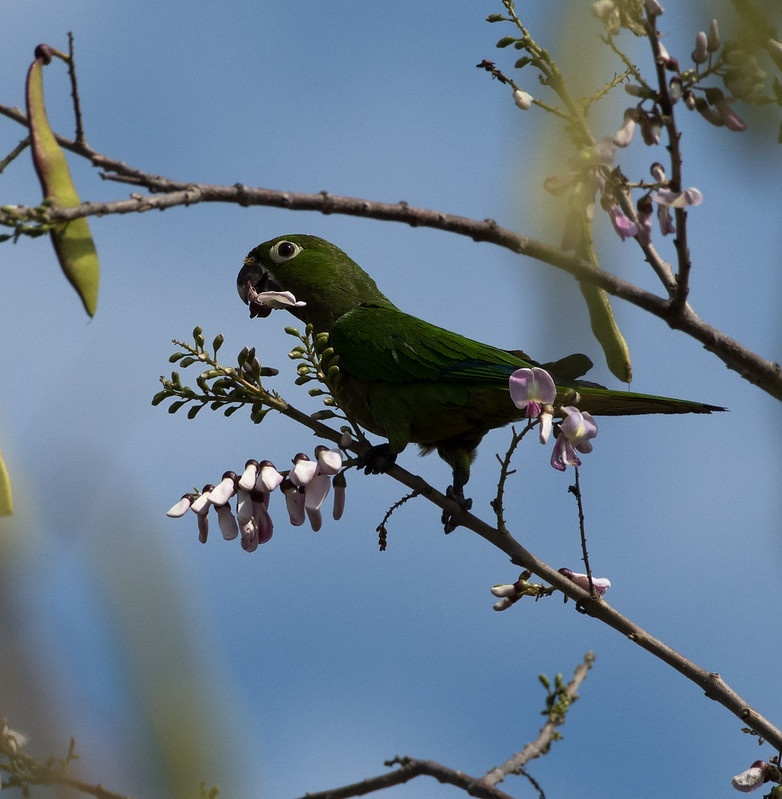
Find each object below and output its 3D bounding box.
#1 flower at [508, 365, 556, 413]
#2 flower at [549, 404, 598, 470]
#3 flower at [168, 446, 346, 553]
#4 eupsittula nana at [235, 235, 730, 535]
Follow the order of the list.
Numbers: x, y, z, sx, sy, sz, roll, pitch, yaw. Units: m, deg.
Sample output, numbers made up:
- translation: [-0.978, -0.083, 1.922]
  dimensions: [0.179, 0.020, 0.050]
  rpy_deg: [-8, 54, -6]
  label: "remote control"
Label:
- translation: [0.551, -0.041, 6.983]
  dimensions: [0.179, 0.077, 0.234]
  rpy_deg: [-4, -87, 11]
  label: "flower"
- translation: [0.696, 0.138, 6.946]
  dimensions: [0.189, 0.224, 0.285]
  rpy_deg: [-8, -71, -30]
  label: "flower"
- translation: [-0.472, 0.397, 7.036]
  dimensions: [0.606, 0.260, 0.286]
  rpy_deg: [-6, -50, 0]
  label: "flower"
- translation: [0.118, -0.208, 8.293]
  dimensions: [2.619, 1.318, 1.769]
  rpy_deg: [-2, -84, 2]
  label: "eupsittula nana"
